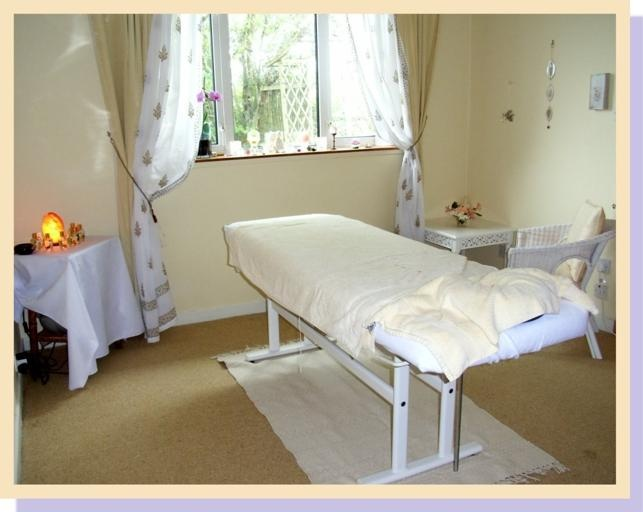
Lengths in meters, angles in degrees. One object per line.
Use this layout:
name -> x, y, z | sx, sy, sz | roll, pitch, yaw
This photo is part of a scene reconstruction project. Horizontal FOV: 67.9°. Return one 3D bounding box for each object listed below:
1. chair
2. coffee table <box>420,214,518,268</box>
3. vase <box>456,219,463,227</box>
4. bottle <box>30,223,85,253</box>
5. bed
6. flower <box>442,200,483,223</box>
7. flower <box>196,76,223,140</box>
chair -> 1.327, 0.270, 2.757 | 0.437, 0.628, 0.493 | -14, 31, -7
coffee table -> 1.205, -0.198, 3.971 | 0.480, 0.504, 0.495 | -10, 20, -22
vase -> 1.138, -0.267, 3.943 | 0.039, 0.043, 0.043 | 12, 14, -3
bottle -> -1.651, -0.147, 2.978 | 0.253, 0.106, 0.196 | -7, 17, -21
bed -> 0.304, 0.405, 2.427 | 0.871, 0.984, 1.667 | -10, 15, -33
flower -> 1.226, -0.381, 4.022 | 0.259, 0.196, 0.267 | -6, 16, -24
flower -> -0.847, -1.130, 3.625 | 0.166, 0.505, 0.418 | -4, 13, -8
